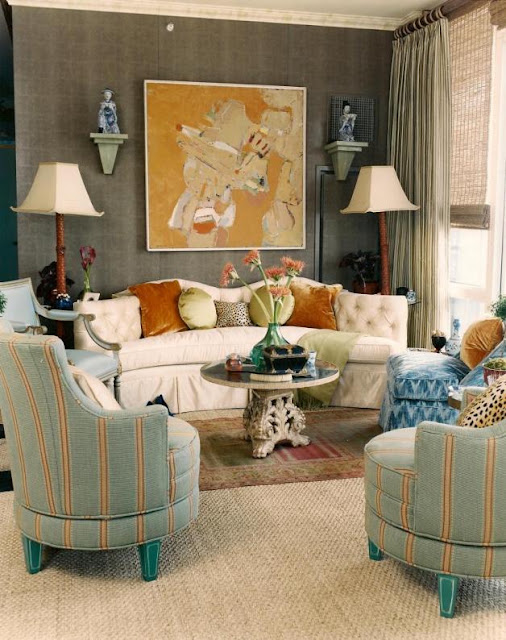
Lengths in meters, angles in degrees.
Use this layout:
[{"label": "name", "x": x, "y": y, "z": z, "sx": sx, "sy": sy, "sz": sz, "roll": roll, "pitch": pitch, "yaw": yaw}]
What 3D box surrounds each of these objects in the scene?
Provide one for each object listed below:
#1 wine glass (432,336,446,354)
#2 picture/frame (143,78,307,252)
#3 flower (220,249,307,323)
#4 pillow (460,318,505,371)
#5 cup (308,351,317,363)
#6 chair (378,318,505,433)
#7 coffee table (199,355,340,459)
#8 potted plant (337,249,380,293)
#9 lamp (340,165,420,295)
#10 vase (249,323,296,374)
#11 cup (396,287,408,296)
[{"label": "wine glass", "x": 1.280, "y": 0.161, "z": 4.027, "sx": 0.112, "sy": 0.122, "sz": 0.116, "roll": 0, "pitch": 2, "yaw": -5}, {"label": "picture/frame", "x": -0.292, "y": -1.369, "z": 4.981, "sx": 1.857, "sy": 1.723, "sz": 0.083, "roll": 0, "pitch": 2, "yaw": -17}, {"label": "flower", "x": 0.046, "y": -0.161, "z": 3.363, "sx": 0.427, "sy": 0.454, "sz": 0.459, "roll": -6, "pitch": 11, "yaw": 24}, {"label": "pillow", "x": 1.304, "y": 0.136, "z": 3.361, "sx": 0.132, "sy": 0.300, "sz": 0.298, "roll": -2, "pitch": 4, "yaw": -23}, {"label": "cup", "x": 0.327, "y": 0.203, "z": 3.227, "sx": 0.056, "sy": 0.059, "sz": 0.055, "roll": 1, "pitch": 4, "yaw": 0}, {"label": "chair", "x": 1.048, "y": 0.316, "z": 3.405, "sx": 0.682, "sy": 0.496, "sz": 0.677, "roll": 1, "pitch": 3, "yaw": 11}, {"label": "coffee table", "x": 0.093, "y": 0.443, "z": 3.254, "sx": 0.596, "sy": 0.331, "sz": 0.584, "roll": -3, "pitch": 9, "yaw": -16}, {"label": "potted plant", "x": 1.016, "y": -0.454, "z": 5.329, "sx": 0.410, "sy": 0.469, "sz": 0.385, "roll": 3, "pitch": 9, "yaw": 19}, {"label": "lamp", "x": 1.056, "y": -0.737, "z": 4.880, "sx": 0.611, "sy": 1.033, "sz": 0.653, "roll": 1, "pitch": 4, "yaw": 15}, {"label": "vase", "x": 0.111, "y": 0.142, "z": 3.307, "sx": 0.252, "sy": 0.259, "sz": 0.277, "roll": 4, "pitch": 15, "yaw": 17}, {"label": "cup", "x": 1.278, "y": -0.247, "z": 5.005, "sx": 0.090, "sy": 0.060, "sz": 0.088, "roll": 0, "pitch": 10, "yaw": 0}]
